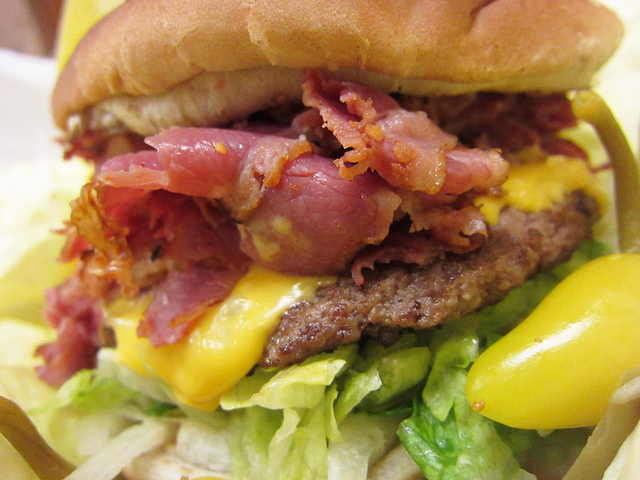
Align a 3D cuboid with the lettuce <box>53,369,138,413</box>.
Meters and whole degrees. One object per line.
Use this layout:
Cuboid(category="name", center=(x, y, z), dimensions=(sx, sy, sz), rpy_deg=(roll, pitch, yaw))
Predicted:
Cuboid(category="lettuce", center=(-0.869, 0.598, 2.629), dimensions=(0.313, 0.189, 0.116), rpy_deg=(-13, 36, -4))
